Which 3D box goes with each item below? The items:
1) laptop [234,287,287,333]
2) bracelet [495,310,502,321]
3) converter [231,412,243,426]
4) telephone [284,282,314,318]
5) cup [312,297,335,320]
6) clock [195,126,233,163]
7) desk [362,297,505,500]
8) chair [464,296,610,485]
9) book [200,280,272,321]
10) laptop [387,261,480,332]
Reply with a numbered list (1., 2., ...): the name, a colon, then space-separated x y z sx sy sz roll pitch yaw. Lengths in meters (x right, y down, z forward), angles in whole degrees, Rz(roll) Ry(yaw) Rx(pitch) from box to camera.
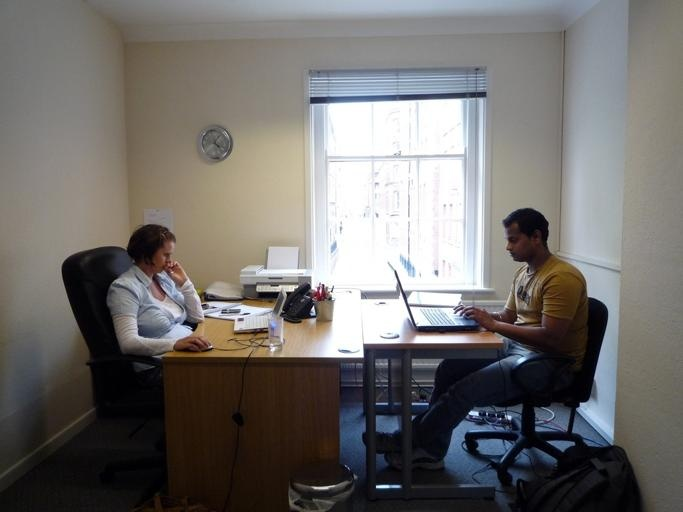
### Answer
1. laptop: -0.474 0.294 3.131 0.169 0.280 0.296 5 3 -10
2. bracelet: 1.034 0.399 3.537 0.029 0.056 0.053 2 5 18
3. converter: -0.541 0.837 2.754 0.046 0.070 0.020 -22 10 2
4. telephone: -0.265 0.283 3.379 0.145 0.089 0.206 5 20 33
5. cup: -0.104 0.331 3.310 0.106 0.099 0.118 0 0 -18
6. clock: -0.982 -0.869 4.192 0.270 0.286 0.052 0 8 10
7. desk: 0.510 0.875 3.312 0.755 0.988 0.677 -1 8 1
8. chair: 1.324 0.800 3.737 0.924 1.408 0.998 2 -3 -4
9. book: -0.763 0.328 3.665 0.330 0.115 0.264 2 10 5
10. laptop: 0.568 0.167 3.215 0.368 0.299 0.479 1 8 -3
